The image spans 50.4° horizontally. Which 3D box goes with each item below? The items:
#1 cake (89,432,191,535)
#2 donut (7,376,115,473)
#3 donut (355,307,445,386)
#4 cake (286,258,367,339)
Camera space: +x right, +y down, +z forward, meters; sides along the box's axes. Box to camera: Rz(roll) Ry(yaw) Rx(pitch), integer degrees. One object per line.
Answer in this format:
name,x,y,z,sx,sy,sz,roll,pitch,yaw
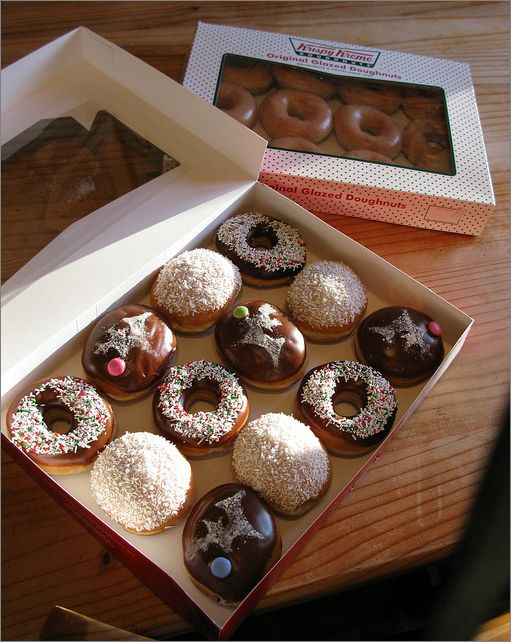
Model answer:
cake,-0.184,0.260,0.884,0.149,0.088,0.159,-29,61,-27
donut,-0.330,0.179,0.930,0.159,0.096,0.160,-29,61,-27
donut,0.269,0.046,1.110,0.158,0.089,0.155,-39,73,-13
cake,0.132,-0.035,1.146,0.156,0.089,0.153,-38,75,-11
